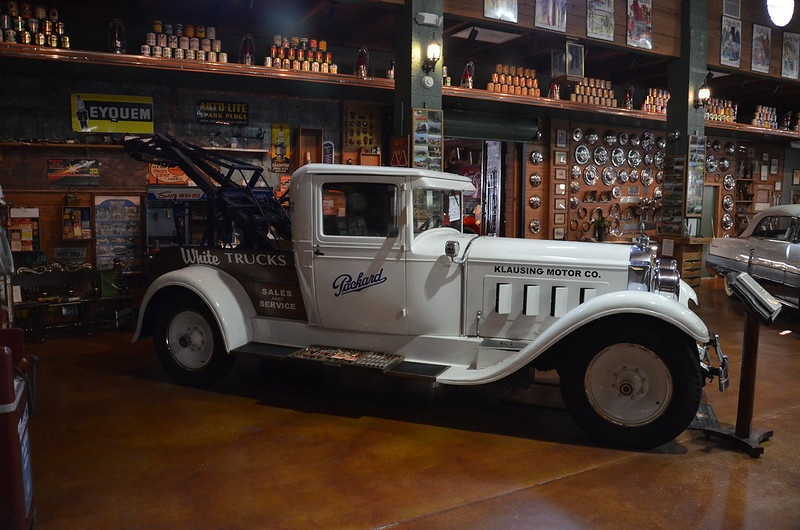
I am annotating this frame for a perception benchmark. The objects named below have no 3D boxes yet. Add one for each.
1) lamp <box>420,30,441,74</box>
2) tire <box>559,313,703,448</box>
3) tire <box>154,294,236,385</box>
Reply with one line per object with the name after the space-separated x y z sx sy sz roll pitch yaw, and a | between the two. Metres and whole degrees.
0.455 -3.100 7.998 0.263 0.610 0.242 -1 16 -1 | lamp
2.039 0.991 4.848 1.096 1.166 0.407 0 7 20 | tire
-2.189 0.787 5.927 0.884 1.033 0.297 2 7 26 | tire
